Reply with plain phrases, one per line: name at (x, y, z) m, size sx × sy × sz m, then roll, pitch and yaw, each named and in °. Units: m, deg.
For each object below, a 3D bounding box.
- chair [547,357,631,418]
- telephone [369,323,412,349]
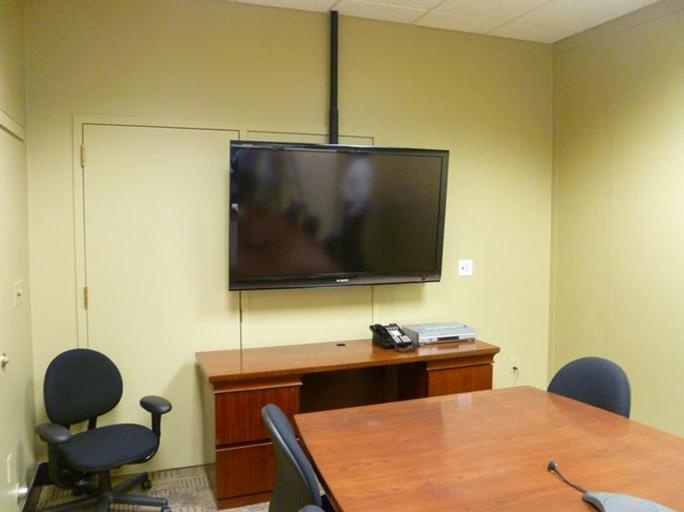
chair at (1.557, 0.717, 3.495) m, size 0.378 × 0.526 × 0.396 m, roll -4°, pitch 3°, yaw 43°
telephone at (0.375, 0.605, 4.324) m, size 0.170 × 0.106 × 0.238 m, roll 1°, pitch -1°, yaw -20°
